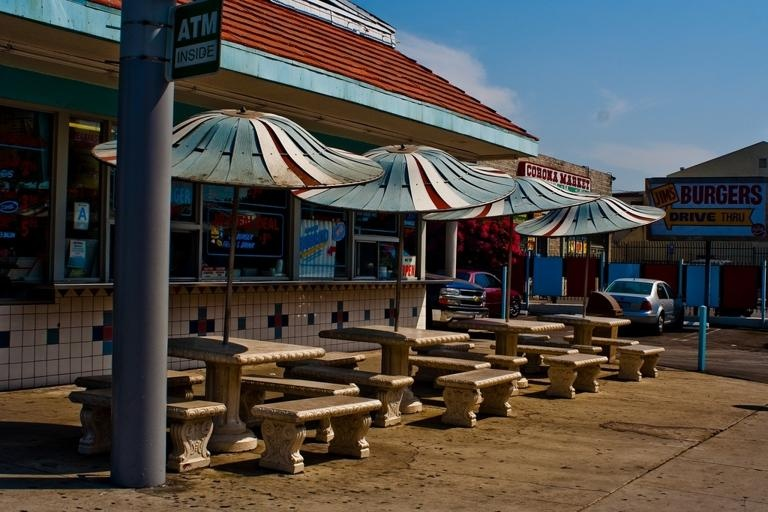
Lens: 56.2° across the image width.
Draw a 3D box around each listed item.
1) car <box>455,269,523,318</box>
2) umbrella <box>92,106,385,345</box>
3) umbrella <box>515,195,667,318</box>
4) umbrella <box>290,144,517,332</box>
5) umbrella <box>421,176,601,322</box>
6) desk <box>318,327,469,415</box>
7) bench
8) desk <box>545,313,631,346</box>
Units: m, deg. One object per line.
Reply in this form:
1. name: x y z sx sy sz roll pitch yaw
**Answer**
1. car: 3.698 1.163 23.764 2.758 1.048 1.293 -1 1 -37
2. umbrella: -1.768 -0.589 9.342 3.659 2.380 3.166 3 8 1
3. umbrella: 4.320 0.024 14.702 3.254 2.016 2.701 -5 9 8
4. umbrella: 0.437 -0.486 10.717 3.333 2.185 2.986 -4 8 -28
5. umbrella: 2.323 -0.216 12.840 3.112 1.549 2.296 -3 2 -8
6. desk: 0.301 1.745 10.488 1.716 0.889 1.640 -1 1 -42
7. bench: -0.227 1.658 10.478 3.368 0.800 8.010 4 2 42
8. desk: 3.976 1.415 14.616 1.015 0.384 1.323 -2 -3 30
